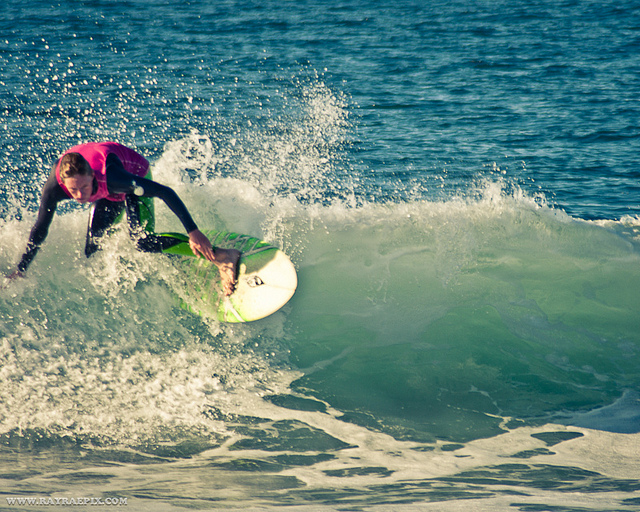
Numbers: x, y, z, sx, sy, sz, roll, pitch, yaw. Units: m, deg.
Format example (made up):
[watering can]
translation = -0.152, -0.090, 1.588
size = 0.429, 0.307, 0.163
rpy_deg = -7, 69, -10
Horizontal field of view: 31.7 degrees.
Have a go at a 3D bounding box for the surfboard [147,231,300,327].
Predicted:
[surfboard]
translation = -1.597, 0.266, 17.329
size = 0.379, 1.442, 3.161
rpy_deg = 29, 7, 37
